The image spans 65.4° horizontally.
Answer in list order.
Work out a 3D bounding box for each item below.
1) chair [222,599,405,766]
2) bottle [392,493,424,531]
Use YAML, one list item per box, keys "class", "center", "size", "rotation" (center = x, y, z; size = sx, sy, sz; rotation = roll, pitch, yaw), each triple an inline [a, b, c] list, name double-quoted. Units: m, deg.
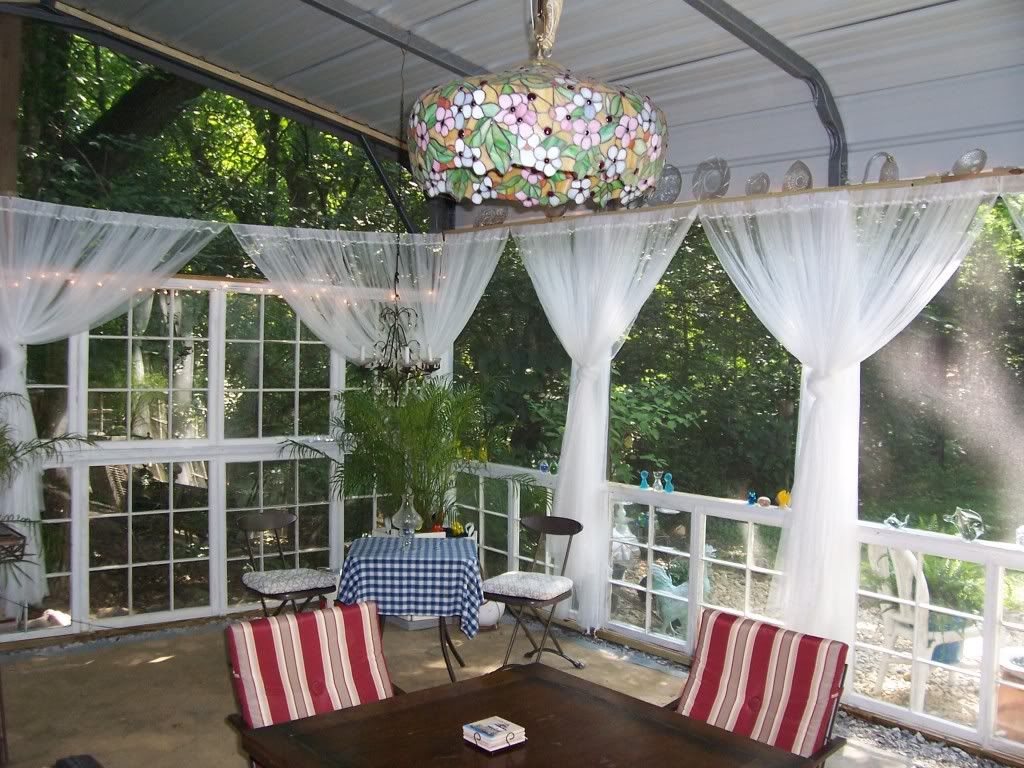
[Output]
- class: "chair"
  center: [-0.963, 1.329, 3.764]
  size: [0.771, 0.780, 0.486]
  rotation: [-7, -4, -26]
- class: "bottle"
  center: [-0.733, 0.885, 5.480]
  size: [0.170, 0.224, 0.355]
  rotation: [-1, 6, -15]
